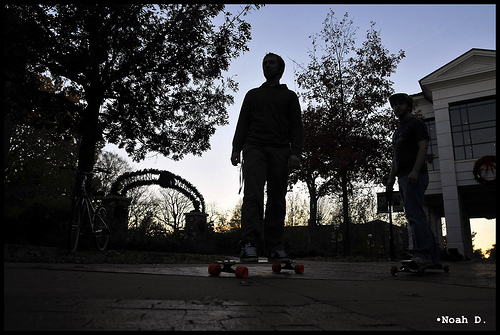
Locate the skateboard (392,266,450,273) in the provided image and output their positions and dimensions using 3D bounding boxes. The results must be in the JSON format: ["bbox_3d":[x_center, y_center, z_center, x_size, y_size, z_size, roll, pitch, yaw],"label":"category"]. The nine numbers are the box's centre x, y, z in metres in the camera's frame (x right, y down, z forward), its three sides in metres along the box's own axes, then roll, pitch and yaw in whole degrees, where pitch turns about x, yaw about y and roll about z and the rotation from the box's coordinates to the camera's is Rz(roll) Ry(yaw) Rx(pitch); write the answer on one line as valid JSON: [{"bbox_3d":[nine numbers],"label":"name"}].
[{"bbox_3d":[2.442,1.449,4.581,0.807,0.113,0.284,10,-20,-33],"label":"skateboard"}]

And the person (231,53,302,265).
[{"bbox_3d":[0.253,-0.228,4.531,0.958,3.066,0.500,6,-14,-23],"label":"person"}]

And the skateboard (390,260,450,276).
[{"bbox_3d":[2.526,1.367,4.598,1.121,0.164,0.417,12,-18,-41],"label":"skateboard"}]
